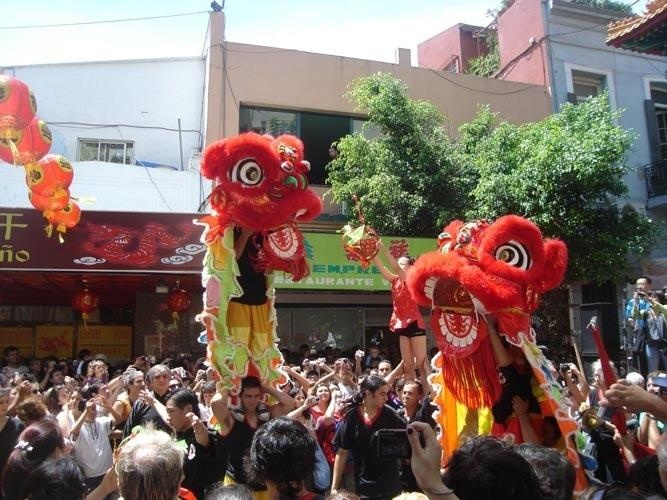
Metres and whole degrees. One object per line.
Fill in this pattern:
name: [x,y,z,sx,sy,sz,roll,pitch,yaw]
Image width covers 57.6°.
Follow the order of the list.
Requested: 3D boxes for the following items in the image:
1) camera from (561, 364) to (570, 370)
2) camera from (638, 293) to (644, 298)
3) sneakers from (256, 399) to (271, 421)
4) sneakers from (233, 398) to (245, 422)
camera: [2.321,1.157,6.030,0.063,0.046,0.063,0,-16,-2]
camera: [4.093,0.591,8.040,0.092,0.041,0.107,3,-2,19]
sneakers: [-0.583,1.325,4.991,0.082,0.118,0.050,-5,-16,-41]
sneakers: [-0.767,1.286,4.891,0.094,0.165,0.045,2,-25,-27]
